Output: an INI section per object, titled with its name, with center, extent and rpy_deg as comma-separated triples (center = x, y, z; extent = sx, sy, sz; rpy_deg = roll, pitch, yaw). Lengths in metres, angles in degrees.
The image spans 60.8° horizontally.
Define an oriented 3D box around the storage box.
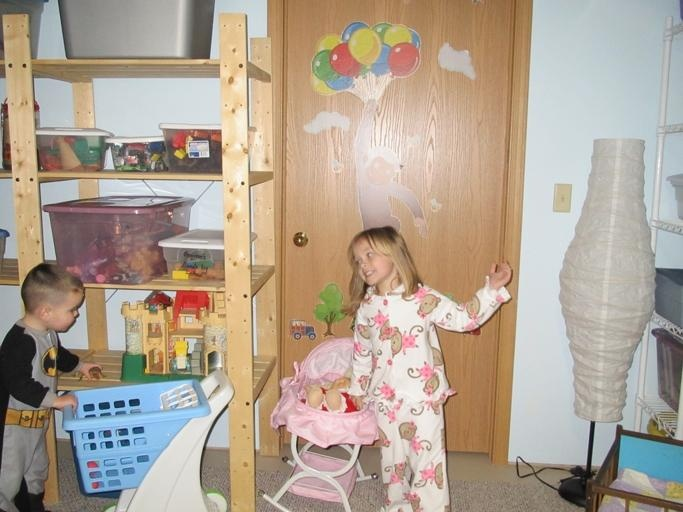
[storage box]
center = -0.839, -0.269, 2.865
extent = 0.851, 0.828, 0.544
rpy_deg = 2, 13, 7
